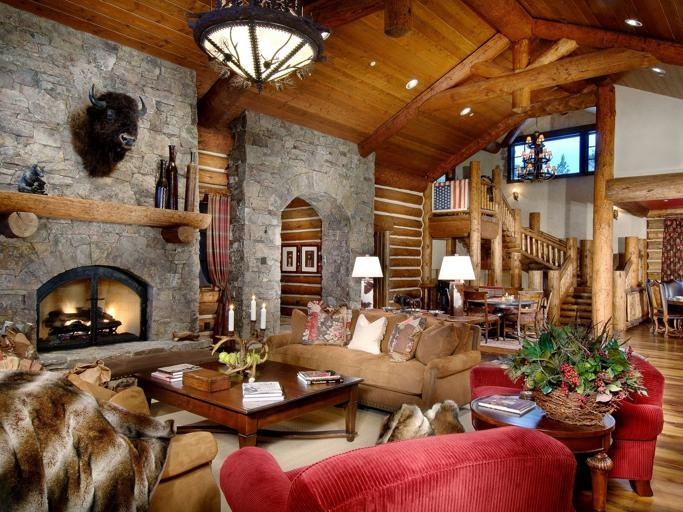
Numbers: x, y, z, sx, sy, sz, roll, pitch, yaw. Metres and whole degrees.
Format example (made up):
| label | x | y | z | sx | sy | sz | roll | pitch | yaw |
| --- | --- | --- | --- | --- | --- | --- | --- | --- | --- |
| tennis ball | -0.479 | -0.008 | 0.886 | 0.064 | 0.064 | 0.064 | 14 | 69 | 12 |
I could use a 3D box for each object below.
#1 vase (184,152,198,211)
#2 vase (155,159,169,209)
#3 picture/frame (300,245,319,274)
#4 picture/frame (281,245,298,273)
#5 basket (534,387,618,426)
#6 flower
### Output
| label | x | y | z | sx | sy | sz | roll | pitch | yaw |
| --- | --- | --- | --- | --- | --- | --- | --- | --- | --- |
| vase | -2.071 | -1.031 | 6.198 | 0.173 | 0.864 | 0.272 | 2 | -5 | -17 |
| vase | -2.364 | -0.957 | 5.892 | 0.165 | 0.685 | 0.151 | 3 | -6 | -22 |
| picture/frame | -0.722 | 0.067 | 10.144 | 0.743 | 0.740 | 0.065 | -2 | -3 | 39 |
| picture/frame | -1.229 | 0.060 | 10.566 | 0.525 | 0.608 | 0.092 | -4 | -7 | 41 |
| basket | 1.394 | 0.922 | 2.719 | 0.332 | 0.135 | 0.309 | 2 | -2 | -33 |
| flower | 1.451 | 0.658 | 2.826 | 0.658 | 0.314 | 0.625 | 0 | -4 | 26 |
